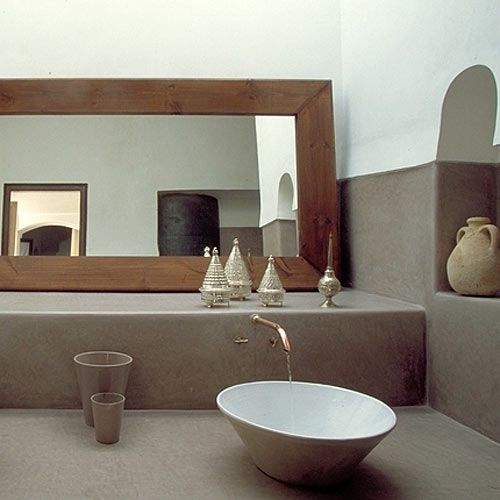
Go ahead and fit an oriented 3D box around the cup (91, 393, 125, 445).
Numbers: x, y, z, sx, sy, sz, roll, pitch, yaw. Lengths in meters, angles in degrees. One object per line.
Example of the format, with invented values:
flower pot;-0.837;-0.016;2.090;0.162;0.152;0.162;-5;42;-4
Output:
cup;-0.260;0.307;0.931;0.076;0.096;0.080;0;-8;0
